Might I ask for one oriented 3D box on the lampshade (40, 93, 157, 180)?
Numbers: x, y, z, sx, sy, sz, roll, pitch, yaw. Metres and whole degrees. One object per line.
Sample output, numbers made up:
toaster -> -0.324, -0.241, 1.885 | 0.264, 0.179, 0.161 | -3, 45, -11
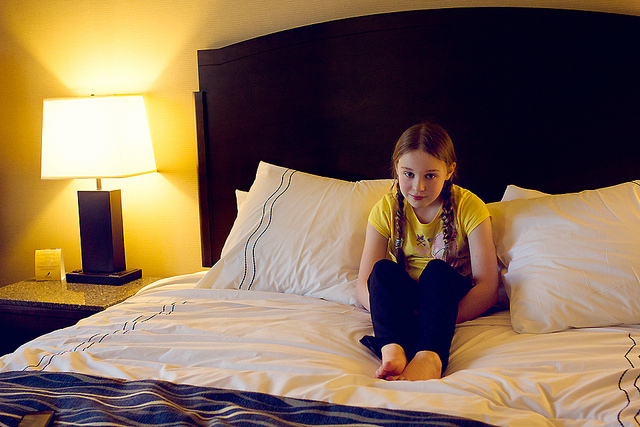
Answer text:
lampshade -> -1.308, -0.418, 2.983 | 0.615, 0.505, 0.487 | -2, 9, 5

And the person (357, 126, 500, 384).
person -> 0.394, 0.127, 1.991 | 0.527, 0.998, 1.012 | -3, -1, 21
